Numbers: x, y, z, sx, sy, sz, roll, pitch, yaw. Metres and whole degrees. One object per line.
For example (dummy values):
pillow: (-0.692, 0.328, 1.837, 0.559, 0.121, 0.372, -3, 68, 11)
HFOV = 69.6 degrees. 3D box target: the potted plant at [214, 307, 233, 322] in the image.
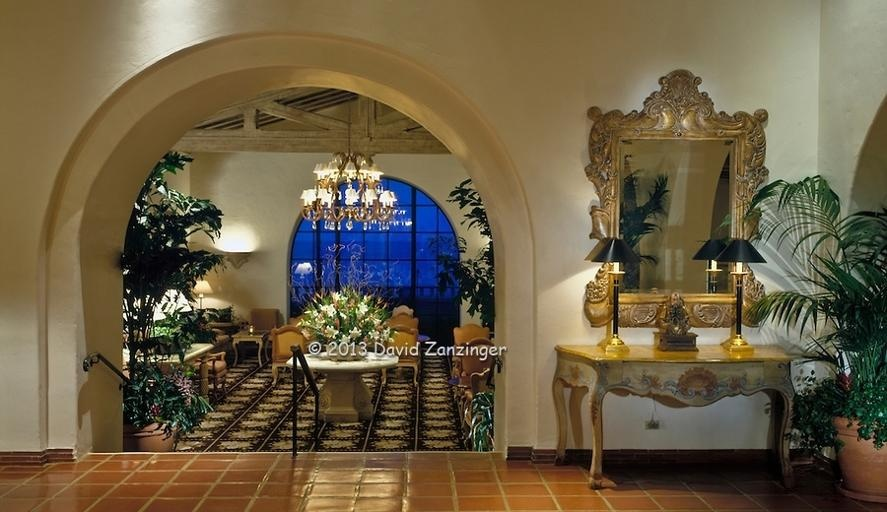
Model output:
potted plant: (-5.297, 1.408, 15.466, 0.275, 0.343, 0.618, -2, 11, -13)

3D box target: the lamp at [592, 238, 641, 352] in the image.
lamp: (1.808, 0.402, 6.970, 0.493, 1.181, 0.688, 3, 12, 13)

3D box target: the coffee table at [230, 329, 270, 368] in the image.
coffee table: (-4.497, 2.251, 14.856, 0.776, 0.784, 1.118, 0, -3, -3)

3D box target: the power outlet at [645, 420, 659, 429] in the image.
power outlet: (2.371, 1.922, 7.282, 0.112, 0.066, 0.112, -2, -4, 22)

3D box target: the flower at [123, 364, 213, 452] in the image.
flower: (-3.747, 1.972, 8.429, 1.187, 1.096, 1.143, 1, 1, -30)

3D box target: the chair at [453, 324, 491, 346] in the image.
chair: (0.497, 1.351, 11.218, 0.430, 0.504, 0.451, 1, -20, -4)

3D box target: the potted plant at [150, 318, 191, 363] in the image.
potted plant: (-3.701, 1.113, 8.674, 0.746, 0.497, 0.613, 3, 2, -25)

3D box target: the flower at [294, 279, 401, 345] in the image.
flower: (-1.588, 0.943, 10.742, 1.177, 0.828, 1.205, -1, -2, 7)

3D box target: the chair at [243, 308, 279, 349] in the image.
chair: (-4.405, 1.629, 15.283, 0.812, 1.021, 0.806, 1, -10, -6)
